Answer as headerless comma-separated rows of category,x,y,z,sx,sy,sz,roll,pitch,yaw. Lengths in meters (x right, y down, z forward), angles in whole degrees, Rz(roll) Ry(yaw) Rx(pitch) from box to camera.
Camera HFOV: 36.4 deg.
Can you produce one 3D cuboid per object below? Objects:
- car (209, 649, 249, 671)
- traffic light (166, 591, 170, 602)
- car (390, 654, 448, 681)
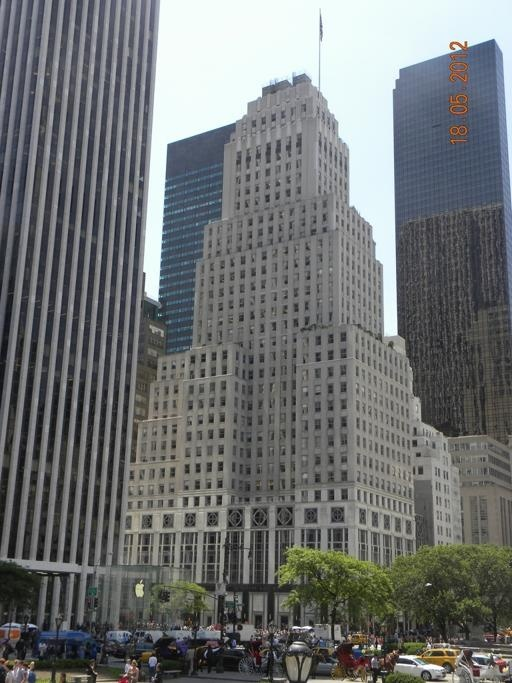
car,-1.746,20.909,51.149,2.233,1.592,0.721,1,0,1
traffic light,-6.793,19.292,59.248,0.273,0.641,1.046,6,-20,-15
car,10.262,20.377,48.607,1.721,1.289,3.299,14,-24,-32
